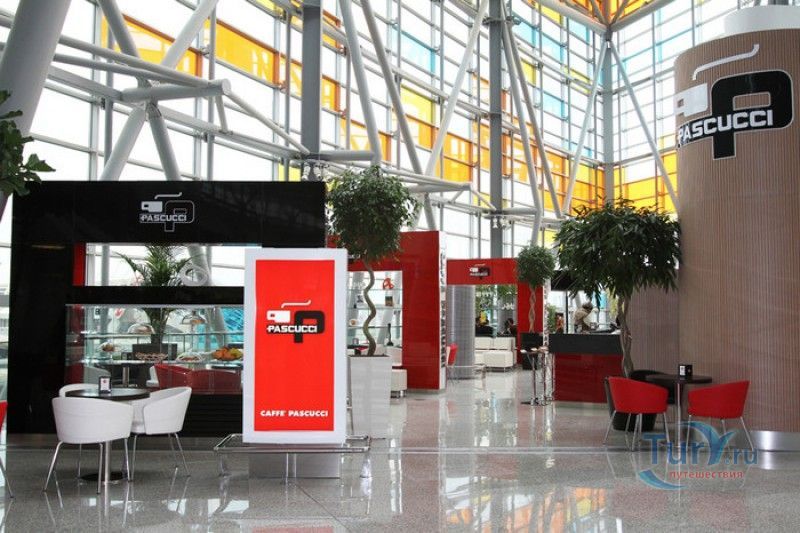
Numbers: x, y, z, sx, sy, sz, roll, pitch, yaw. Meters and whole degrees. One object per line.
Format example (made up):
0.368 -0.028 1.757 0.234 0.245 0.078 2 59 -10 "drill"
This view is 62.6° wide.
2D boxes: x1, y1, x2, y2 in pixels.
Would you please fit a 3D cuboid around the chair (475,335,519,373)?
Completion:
2.940 2.697 20.231 1.127 0.712 1.061 -1 -8 11 "chair"

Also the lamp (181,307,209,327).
-3.063 0.756 9.902 0.282 0.167 0.288 -2 -4 24 "lamp"

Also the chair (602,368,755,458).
4.204 2.171 9.819 1.905 1.118 1.124 0 0 28 "chair"

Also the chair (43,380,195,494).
-3.711 2.162 8.682 1.699 1.140 1.386 0 0 -43 "chair"

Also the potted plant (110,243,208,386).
-3.783 0.697 10.680 1.808 2.402 1.768 3 -8 -21 "potted plant"

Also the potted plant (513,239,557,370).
3.961 1.184 20.098 1.307 3.971 1.364 -5 -11 26 "potted plant"
